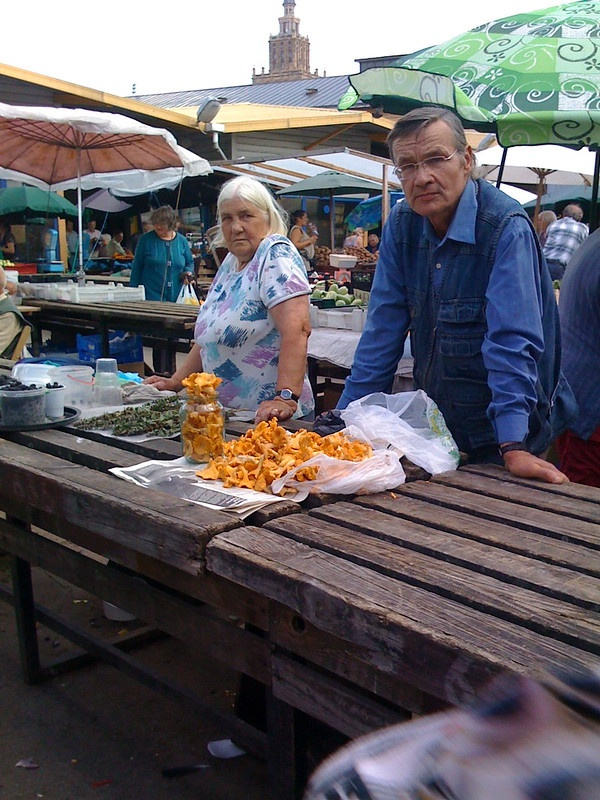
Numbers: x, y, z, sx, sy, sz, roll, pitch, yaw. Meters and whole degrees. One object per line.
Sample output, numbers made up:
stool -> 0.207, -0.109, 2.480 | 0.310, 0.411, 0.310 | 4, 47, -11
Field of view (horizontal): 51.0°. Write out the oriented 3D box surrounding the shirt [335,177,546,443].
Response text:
shirt -> 0.470, -0.297, 1.985 | 0.343, 0.761, 0.749 | -9, 14, -39

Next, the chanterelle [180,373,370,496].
chanterelle -> -0.033, 0.129, 1.597 | 0.445, 0.144, 0.340 | 0, 10, -1
